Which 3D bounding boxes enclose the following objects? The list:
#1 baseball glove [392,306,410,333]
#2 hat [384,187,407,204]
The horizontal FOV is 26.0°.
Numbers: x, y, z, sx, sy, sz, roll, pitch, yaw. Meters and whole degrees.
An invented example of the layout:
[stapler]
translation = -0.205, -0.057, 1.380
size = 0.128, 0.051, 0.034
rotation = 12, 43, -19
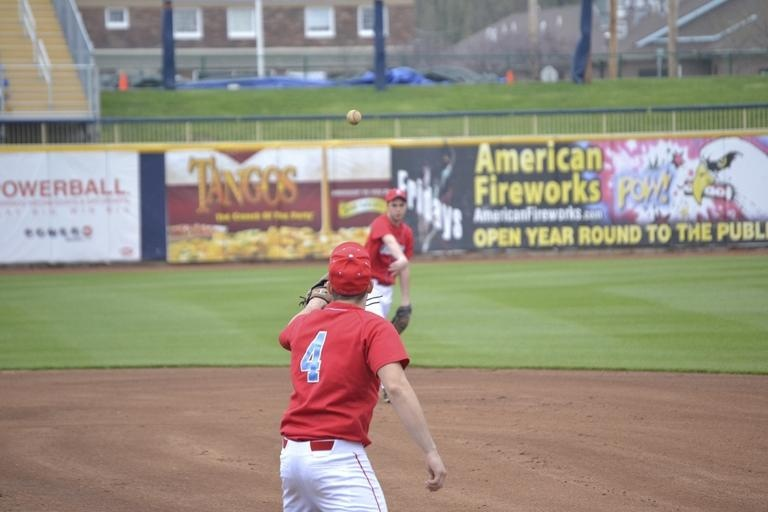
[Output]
[baseball glove]
translation = 0.408, 1.430, 38.395
size = 0.159, 0.619, 0.363
rotation = 30, -2, 0
[hat]
translation = 0.237, -1.386, 37.837
size = 0.366, 0.278, 0.496
rotation = -1, -1, -6
